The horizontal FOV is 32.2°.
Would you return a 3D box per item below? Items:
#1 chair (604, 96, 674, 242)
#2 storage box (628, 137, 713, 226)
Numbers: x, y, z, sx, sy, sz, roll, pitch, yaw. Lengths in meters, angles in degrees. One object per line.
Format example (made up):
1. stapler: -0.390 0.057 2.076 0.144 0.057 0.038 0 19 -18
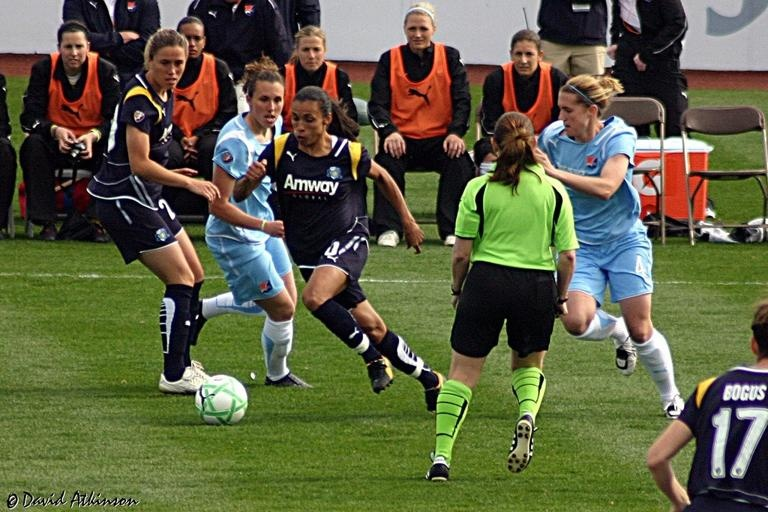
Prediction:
1. chair: 3.110 -1.093 15.985 1.002 1.668 0.918 -1 17 6
2. storage box: 3.342 -0.861 15.442 1.102 0.984 0.595 -1 5 0
